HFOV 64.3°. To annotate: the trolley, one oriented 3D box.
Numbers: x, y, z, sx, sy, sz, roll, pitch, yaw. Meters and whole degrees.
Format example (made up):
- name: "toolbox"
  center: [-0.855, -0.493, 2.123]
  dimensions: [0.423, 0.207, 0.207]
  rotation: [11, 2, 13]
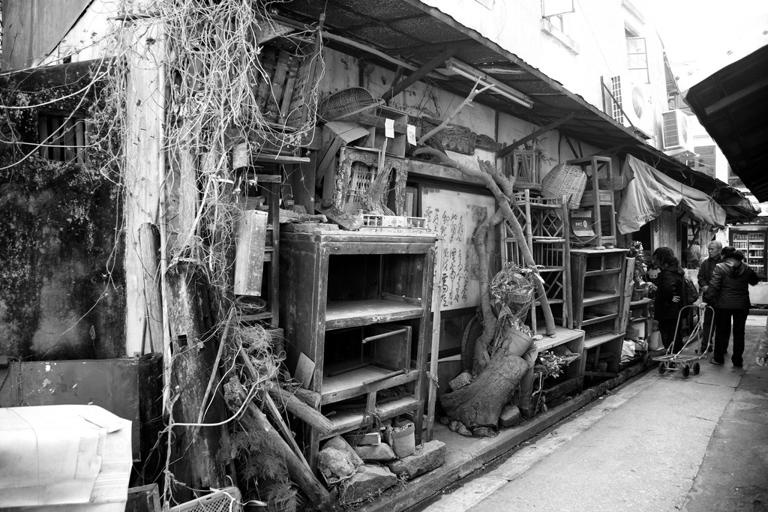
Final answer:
- name: "trolley"
  center: [6.043, 1.722, 12.497]
  dimensions: [0.689, 1.032, 1.105]
  rotation: [-13, 33, -12]
